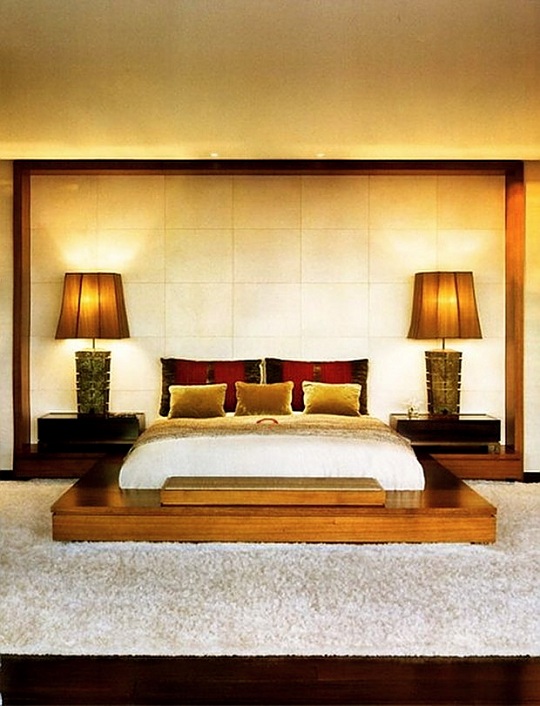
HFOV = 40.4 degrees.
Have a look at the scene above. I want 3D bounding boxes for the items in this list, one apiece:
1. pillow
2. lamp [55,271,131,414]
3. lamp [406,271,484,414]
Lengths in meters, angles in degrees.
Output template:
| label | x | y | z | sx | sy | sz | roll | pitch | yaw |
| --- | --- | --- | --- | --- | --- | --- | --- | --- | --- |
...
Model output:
| label | x | y | z | sx | sy | sz | roll | pitch | yaw |
| --- | --- | --- | --- | --- | --- | --- | --- | --- | --- |
| pillow | -0.038 | 0.257 | 5.785 | 1.647 | 0.401 | 0.499 | 1 | 9 | 2 |
| lamp | -1.380 | -0.072 | 5.753 | 0.544 | 1.094 | 0.412 | -2 | 10 | -10 |
| lamp | 1.363 | -0.081 | 5.793 | 0.531 | 1.114 | 0.435 | 1 | 10 | 5 |
